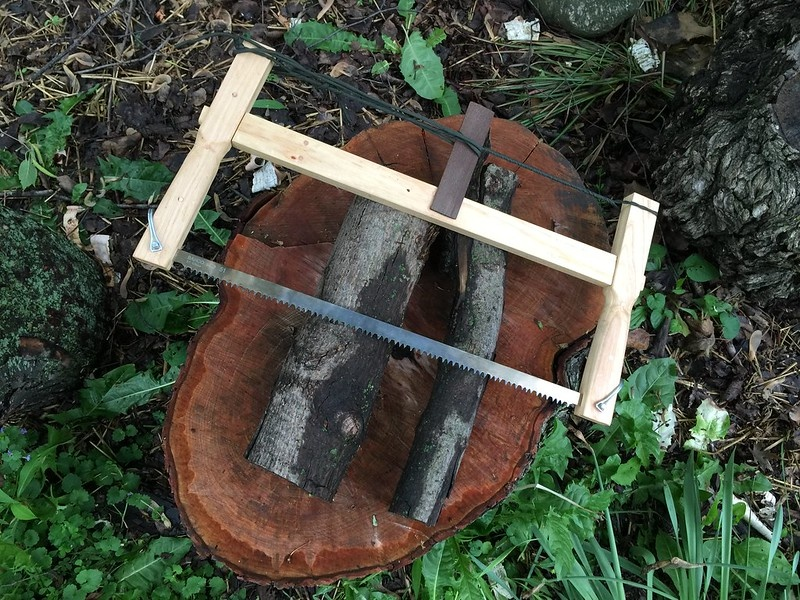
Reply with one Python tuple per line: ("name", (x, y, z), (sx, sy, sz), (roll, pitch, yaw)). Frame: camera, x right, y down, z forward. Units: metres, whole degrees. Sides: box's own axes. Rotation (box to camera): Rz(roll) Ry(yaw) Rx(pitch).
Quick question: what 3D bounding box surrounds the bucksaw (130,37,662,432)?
("bucksaw", (0.045, -0.333, 4.172), (2.420, 0.246, 1.142), (19, 84, 0))
